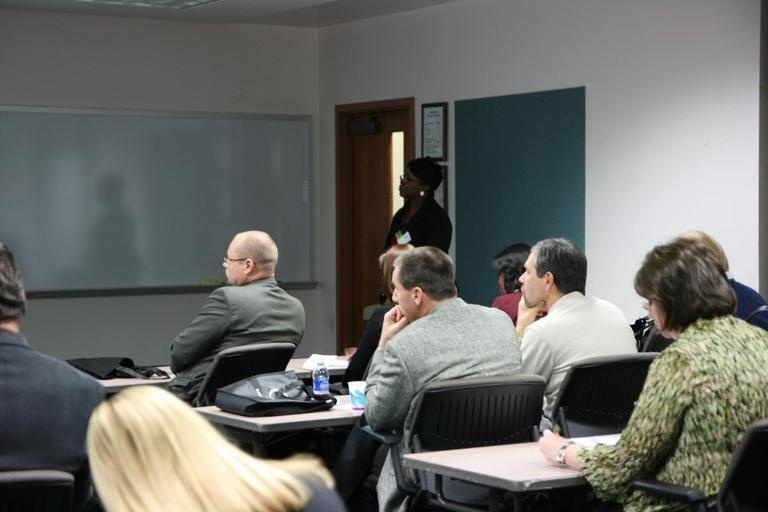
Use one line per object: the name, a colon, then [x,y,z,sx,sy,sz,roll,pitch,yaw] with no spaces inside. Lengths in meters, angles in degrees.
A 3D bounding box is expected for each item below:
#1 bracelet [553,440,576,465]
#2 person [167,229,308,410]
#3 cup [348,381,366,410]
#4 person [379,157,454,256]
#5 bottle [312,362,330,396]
bracelet: [0.663,0.731,2.186,0.088,0.097,0.055,8,1,-34]
person: [-1.050,0.595,4.213,0.722,1.524,0.773,11,2,-29]
cup: [-0.146,0.714,3.059,0.132,0.145,0.138,1,2,0]
person: [0.341,-0.516,5.876,0.612,0.927,0.528,-4,7,-3]
bottle: [-0.364,0.717,3.399,0.129,0.242,0.136,-1,-1,0]
